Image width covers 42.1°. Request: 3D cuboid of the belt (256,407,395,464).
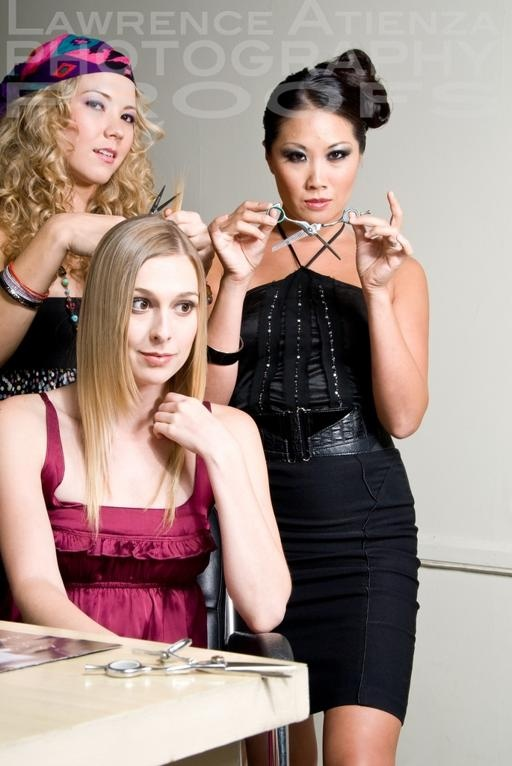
[{"bbox_3d":[0.154,0.126,1.660,0.214,0.086,0.152,-5,-3,-5],"label":"belt"}]
